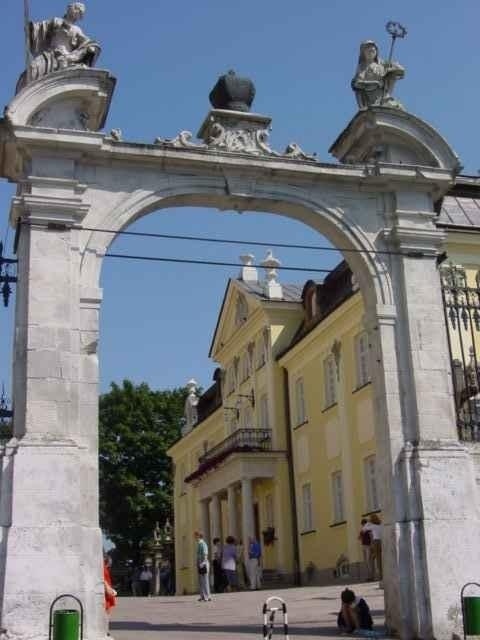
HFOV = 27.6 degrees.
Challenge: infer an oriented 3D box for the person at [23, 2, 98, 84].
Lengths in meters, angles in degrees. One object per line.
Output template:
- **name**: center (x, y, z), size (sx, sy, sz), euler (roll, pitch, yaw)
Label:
- **person**: center (-2.222, -3.376, 12.265), size (0.865, 0.929, 0.365), euler (0, -20, -10)

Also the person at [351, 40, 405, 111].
- **person**: center (1.916, -3.333, 13.701), size (0.704, 1.205, 0.509), euler (-7, -20, 10)
